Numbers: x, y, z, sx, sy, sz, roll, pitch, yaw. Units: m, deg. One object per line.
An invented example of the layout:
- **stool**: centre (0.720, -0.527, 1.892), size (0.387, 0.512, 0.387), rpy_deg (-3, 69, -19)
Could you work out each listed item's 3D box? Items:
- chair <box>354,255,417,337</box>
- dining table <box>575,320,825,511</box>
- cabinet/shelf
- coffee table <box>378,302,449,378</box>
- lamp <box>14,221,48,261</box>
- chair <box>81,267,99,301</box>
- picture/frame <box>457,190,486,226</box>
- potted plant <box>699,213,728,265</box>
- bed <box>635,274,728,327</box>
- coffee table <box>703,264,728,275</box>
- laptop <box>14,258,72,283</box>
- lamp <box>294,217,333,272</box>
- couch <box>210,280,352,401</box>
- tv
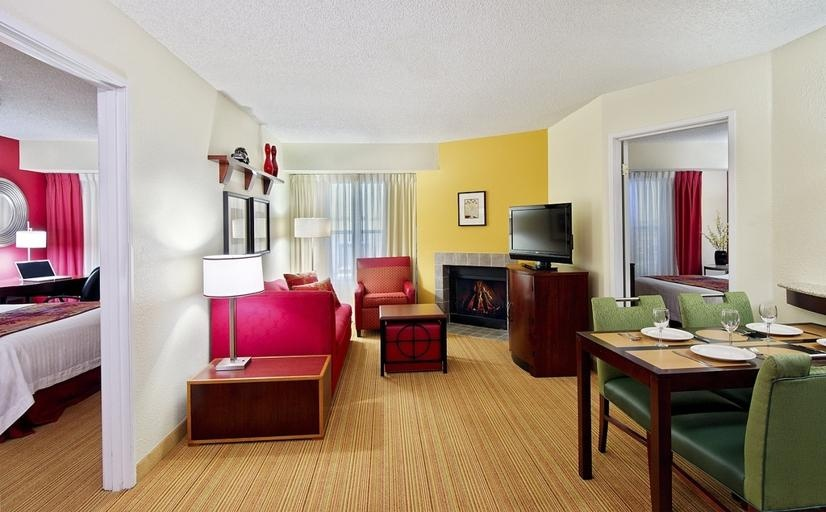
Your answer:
- **chair**: centre (-0.438, 0.581, 7.719), size (0.953, 1.154, 0.902), rpy_deg (-1, 0, -15)
- **dining table**: centre (2.228, 0.974, 4.344), size (2.403, 1.550, 1.304), rpy_deg (-1, 0, -15)
- **cabinet/shelf**: centre (1.599, 0.766, 6.763), size (0.986, 1.639, 1.766), rpy_deg (0, 0, 4)
- **coffee table**: centre (0.014, 0.974, 6.070), size (0.731, 0.651, 0.755), rpy_deg (-1, -1, -4)
- **lamp**: centre (-5.506, -0.226, 7.406), size (0.380, 0.569, 0.480), rpy_deg (-5, 4, -37)
- **chair**: centre (-4.323, 0.398, 6.855), size (0.205, 0.398, 0.447), rpy_deg (-5, 4, -33)
- **picture/frame**: centre (0.870, -0.708, 7.497), size (0.526, 0.629, 0.023), rpy_deg (-1, -1, 28)
- **potted plant**: centre (4.949, -0.280, 8.423), size (0.341, 0.850, 0.286), rpy_deg (-1, 4, 24)
- **bed**: centre (3.579, 0.450, 6.992), size (0.955, 0.229, 0.970), rpy_deg (-2, 4, -2)
- **coffee table**: centre (4.839, 0.241, 8.240), size (0.199, 0.225, 0.199), rpy_deg (6, 13, 40)
- **laptop**: centre (-5.259, 0.204, 7.203), size (0.398, 0.247, 0.427), rpy_deg (-1, 0, 19)
- **lamp**: centre (-1.529, -0.168, 7.909), size (0.576, 0.892, 0.587), rpy_deg (-3, 4, -14)
- **couch**: centre (-1.368, 0.703, 5.622), size (0.932, 0.869, 1.747), rpy_deg (0, 1, -7)
- **tv**: centre (1.587, -0.233, 6.360), size (0.281, 0.821, 1.045), rpy_deg (-7, 7, -31)
